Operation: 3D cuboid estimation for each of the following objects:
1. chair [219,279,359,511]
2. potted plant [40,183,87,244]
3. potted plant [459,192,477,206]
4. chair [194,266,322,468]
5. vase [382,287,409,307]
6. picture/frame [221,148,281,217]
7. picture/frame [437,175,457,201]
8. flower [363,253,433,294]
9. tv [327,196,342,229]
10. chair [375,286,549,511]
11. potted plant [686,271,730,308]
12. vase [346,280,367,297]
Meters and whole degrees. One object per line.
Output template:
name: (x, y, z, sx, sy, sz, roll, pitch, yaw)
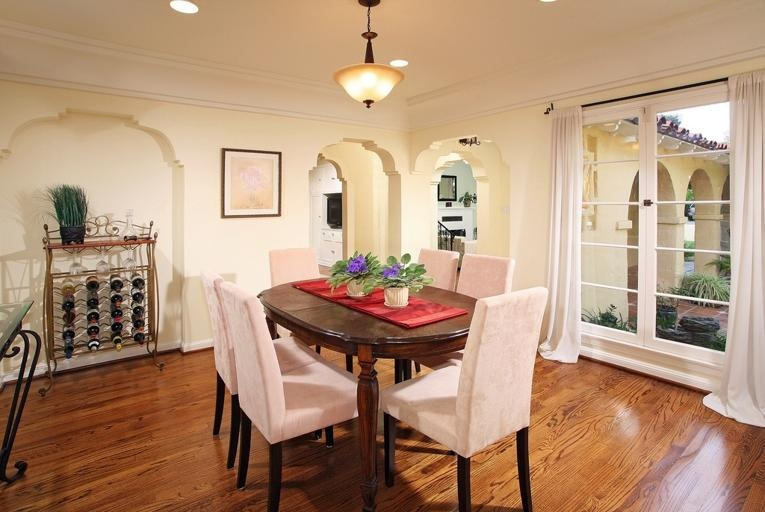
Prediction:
chair: (-0.651, 0.905, 3.488, 0.899, 1.468, 0.761, 3, 7, 37)
potted plant: (-3.106, -0.422, 4.857, 0.308, 0.595, 0.406, -5, 7, -31)
potted plant: (2.281, -1.482, 12.779, 0.500, 0.329, 0.490, 0, -1, -36)
chair: (-1.049, 0.785, 4.668, 1.409, 2.165, 1.295, -3, 5, -24)
vase: (0.099, 0.317, 3.780, 0.168, 0.115, 0.161, 0, -8, -8)
picture/frame: (-1.568, -0.874, 5.673, 0.830, 0.897, 0.066, -5, 11, -32)
picture/frame: (1.656, -1.746, 12.545, 0.164, 0.627, 0.720, 4, 7, 39)
flower: (0.108, 0.153, 3.830, 0.464, 0.184, 0.478, 0, 11, 17)
tv: (-1.033, -0.946, 10.335, 0.141, 0.736, 0.627, -4, 6, -26)
chair: (0.541, 0.909, 3.301, 0.926, 1.401, 0.526, 2, 7, 32)
potted plant: (3.053, 0.276, 4.663, 0.272, 0.126, 0.255, -18, 18, -35)
vase: (-0.212, 0.254, 3.943, 0.149, 0.106, 0.143, -1, -1, -11)
